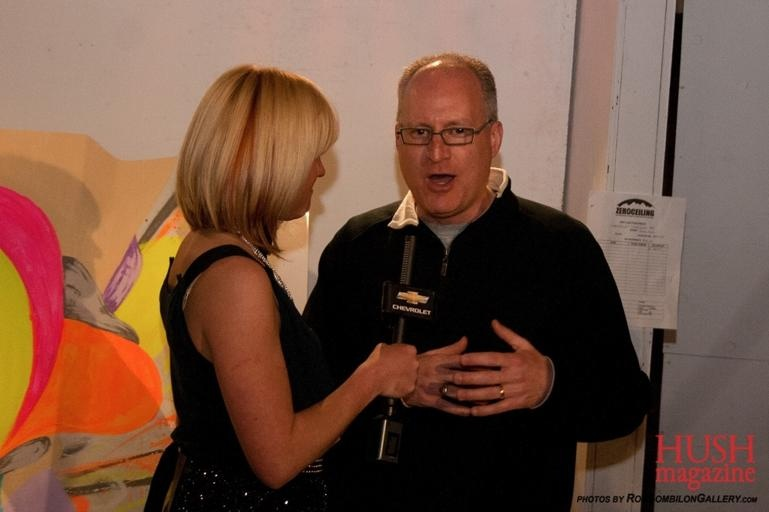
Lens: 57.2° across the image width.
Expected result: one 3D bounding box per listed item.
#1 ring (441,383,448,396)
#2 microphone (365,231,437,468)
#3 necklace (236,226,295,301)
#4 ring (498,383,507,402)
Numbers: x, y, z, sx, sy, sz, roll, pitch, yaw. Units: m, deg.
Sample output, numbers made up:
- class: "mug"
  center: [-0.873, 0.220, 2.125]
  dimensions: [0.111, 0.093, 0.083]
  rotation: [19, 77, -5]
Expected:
- class: "ring"
  center: [0.248, 0.551, 2.923]
  dimensions: [0.036, 0.049, 0.014]
  rotation: [-1, -3, 11]
- class: "microphone"
  center: [0.081, 0.374, 2.981]
  dimensions: [0.238, 0.962, 0.127]
  rotation: [9, -4, 12]
- class: "necklace"
  center: [-0.496, 0.014, 2.792]
  dimensions: [0.087, 0.023, 0.500]
  rotation: [28, 12, -28]
- class: "ring"
  center: [0.479, 0.566, 2.918]
  dimensions: [0.012, 0.047, 0.046]
  rotation: [1, -20, -25]
